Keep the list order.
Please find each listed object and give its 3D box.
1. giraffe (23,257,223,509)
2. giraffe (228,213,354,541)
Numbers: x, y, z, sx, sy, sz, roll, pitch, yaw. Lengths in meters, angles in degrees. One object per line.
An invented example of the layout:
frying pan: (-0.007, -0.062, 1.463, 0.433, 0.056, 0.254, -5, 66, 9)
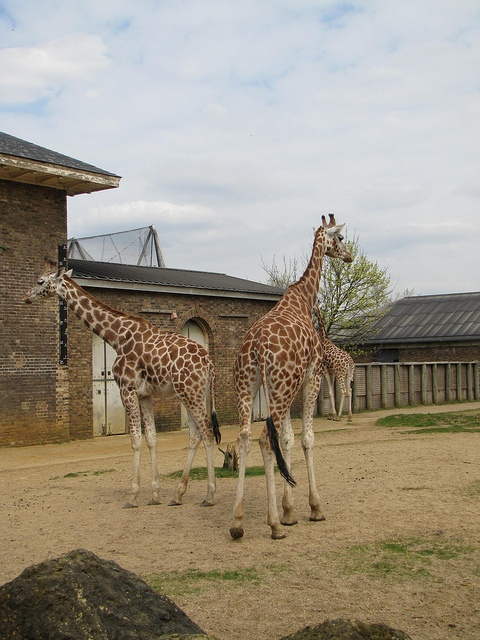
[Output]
giraffe: (-2.459, 1.237, 12.842, 4.661, 5.679, 1.510, -2, -4, 15)
giraffe: (0.521, 0.441, 7.494, 0.990, 3.425, 2.168, -1, -1, 14)
